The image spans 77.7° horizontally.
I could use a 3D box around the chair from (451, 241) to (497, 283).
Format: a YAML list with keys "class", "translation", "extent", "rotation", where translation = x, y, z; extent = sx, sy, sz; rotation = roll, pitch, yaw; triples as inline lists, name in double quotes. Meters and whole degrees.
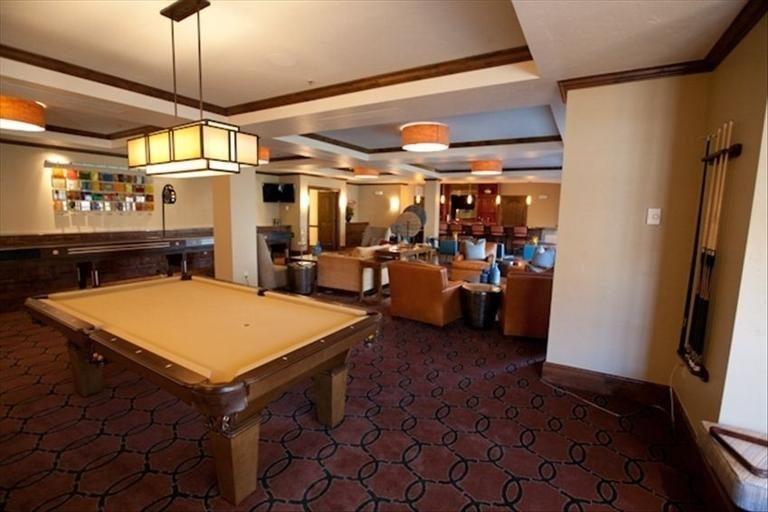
- class: "chair"
  translation: [1.715, 0.113, 9.098]
  extent: [0.725, 0.660, 0.992]
  rotation: [4, 15, 22]

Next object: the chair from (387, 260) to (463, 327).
- class: "chair"
  translation: [0.643, 0.440, 6.741]
  extent: [0.966, 0.843, 0.981]
  rotation: [4, 7, 37]

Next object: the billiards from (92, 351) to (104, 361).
- class: "billiards"
  translation: [-2.511, 0.892, 4.197]
  extent: [0.105, 0.051, 0.132]
  rotation: [25, -6, -36]

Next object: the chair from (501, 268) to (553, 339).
- class: "chair"
  translation: [1.663, 0.580, 6.357]
  extent: [0.682, 0.842, 0.834]
  rotation: [2, 7, 7]

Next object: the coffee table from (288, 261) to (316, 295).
- class: "coffee table"
  translation: [-1.423, 0.359, 8.186]
  extent: [0.510, 0.455, 0.477]
  rotation: [2, 10, 10]

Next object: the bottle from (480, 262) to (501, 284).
- class: "bottle"
  translation: [1.755, 0.309, 7.900]
  extent: [0.212, 0.449, 0.355]
  rotation: [4, 7, 33]

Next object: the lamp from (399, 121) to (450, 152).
- class: "lamp"
  translation: [0.593, -1.765, 7.139]
  extent: [0.658, 0.338, 0.956]
  rotation: [0, 6, -2]

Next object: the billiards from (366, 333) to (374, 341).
- class: "billiards"
  translation: [-0.124, 0.761, 4.433]
  extent: [0.075, 0.071, 0.056]
  rotation: [-1, -3, -13]

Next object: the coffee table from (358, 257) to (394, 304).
- class: "coffee table"
  translation: [-0.135, 0.416, 7.935]
  extent: [0.515, 0.606, 0.706]
  rotation: [2, 5, 19]

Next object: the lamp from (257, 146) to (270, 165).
- class: "lamp"
  translation: [-2.008, -1.656, 7.944]
  extent: [0.140, 0.279, 0.583]
  rotation: [-2, 7, -19]

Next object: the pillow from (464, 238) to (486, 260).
- class: "pillow"
  translation: [1.778, -0.102, 9.331]
  extent: [0.449, 0.398, 0.229]
  rotation: [2, 5, 16]

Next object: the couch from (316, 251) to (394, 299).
- class: "couch"
  translation: [-0.496, 0.294, 8.476]
  extent: [0.809, 0.644, 1.135]
  rotation: [9, 9, 21]

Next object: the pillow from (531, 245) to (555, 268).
- class: "pillow"
  translation: [2.542, 0.045, 7.612]
  extent: [0.392, 0.359, 0.359]
  rotation: [6, -9, 32]

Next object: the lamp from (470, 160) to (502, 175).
- class: "lamp"
  translation: [2.072, -1.747, 9.527]
  extent: [0.522, 0.223, 0.554]
  rotation: [3, 7, 19]

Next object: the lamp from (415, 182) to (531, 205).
- class: "lamp"
  translation: [3.541, -2.097, 16.373]
  extent: [3.532, 0.803, 0.554]
  rotation: [5, 8, 37]

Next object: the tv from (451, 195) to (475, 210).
- class: "tv"
  translation: [2.866, -1.893, 17.017]
  extent: [0.655, 0.360, 0.087]
  rotation: [4, 9, 33]

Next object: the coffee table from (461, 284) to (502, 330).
- class: "coffee table"
  translation: [1.308, 0.692, 6.568]
  extent: [0.623, 0.477, 0.538]
  rotation: [2, 7, 19]
